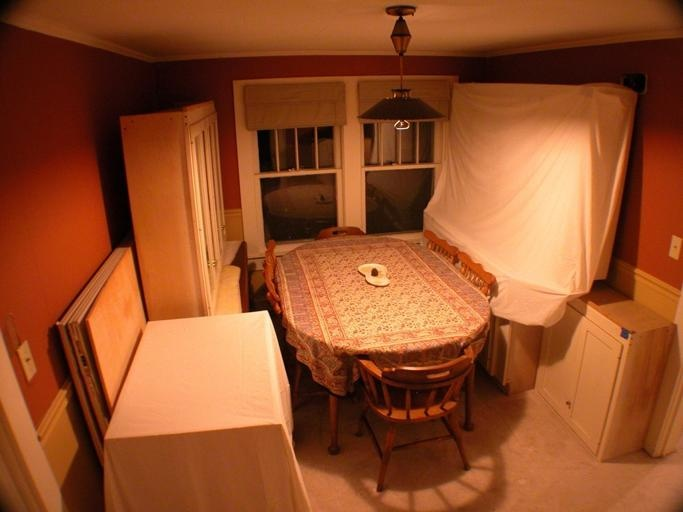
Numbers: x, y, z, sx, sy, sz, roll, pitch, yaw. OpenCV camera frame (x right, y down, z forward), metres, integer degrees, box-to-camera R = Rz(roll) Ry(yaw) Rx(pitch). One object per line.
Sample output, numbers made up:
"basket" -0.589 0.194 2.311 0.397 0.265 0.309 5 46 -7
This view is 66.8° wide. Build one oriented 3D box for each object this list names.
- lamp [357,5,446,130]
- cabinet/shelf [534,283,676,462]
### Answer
"lamp" 0.379 -1.118 3.269 0.682 0.796 0.675 6 18 22
"cabinet/shelf" 1.752 0.757 3.383 0.532 1.152 0.781 -1 20 -12
